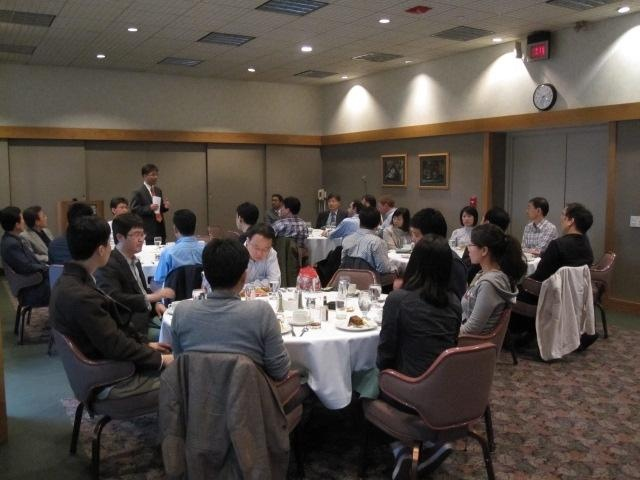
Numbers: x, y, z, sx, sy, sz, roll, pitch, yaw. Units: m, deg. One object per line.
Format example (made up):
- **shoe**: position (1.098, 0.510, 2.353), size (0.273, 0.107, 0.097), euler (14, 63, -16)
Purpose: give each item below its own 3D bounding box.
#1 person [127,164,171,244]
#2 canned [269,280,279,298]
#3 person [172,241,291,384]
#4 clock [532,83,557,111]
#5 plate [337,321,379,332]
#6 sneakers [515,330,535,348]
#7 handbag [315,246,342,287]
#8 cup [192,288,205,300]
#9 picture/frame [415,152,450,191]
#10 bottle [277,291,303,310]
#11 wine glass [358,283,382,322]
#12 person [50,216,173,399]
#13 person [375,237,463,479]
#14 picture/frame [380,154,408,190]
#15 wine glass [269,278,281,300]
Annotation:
- **person**: position (-2.717, -0.363, 7.621), size (0.500, 1.648, 0.542), euler (9, 13, 20)
- **canned**: position (-0.375, 0.404, 3.936), size (0.094, 0.151, 0.090), euler (-3, 8, -16)
- **person**: position (-0.568, 0.453, 2.905), size (0.564, 0.960, 0.486), euler (5, 33, 2)
- **clock**: position (3.445, -2.204, 7.275), size (0.092, 0.422, 0.375), euler (-9, 10, -42)
- **plate**: position (0.266, 0.616, 3.352), size (0.308, 0.038, 0.154), euler (-3, 7, -8)
- **sneakers**: position (2.386, 1.166, 5.500), size (0.197, 0.063, 0.046), euler (-19, 39, 29)
- **handbag**: position (0.049, 0.361, 6.116), size (0.257, 0.458, 0.317), euler (-2, 16, 1)
- **cup**: position (-0.886, 0.389, 3.435), size (0.103, 0.082, 0.105), euler (2, 6, 0)
- **picture/frame**: position (2.169, -1.331, 9.061), size (0.599, 0.657, 0.047), euler (-2, 6, -3)
- **bottle**: position (-0.251, 0.479, 3.731), size (0.155, 0.128, 0.157), euler (-3, 5, -26)
- **wine glass**: position (0.395, 0.478, 3.626), size (0.211, 0.350, 0.210), euler (-1, 7, 1)
- **person**: position (-1.378, 0.428, 3.087), size (0.689, 1.170, 0.380), euler (-7, 8, -32)
- **person**: position (0.617, 0.419, 2.941), size (0.532, 0.865, 0.298), euler (-1, 7, 6)
- **picture/frame**: position (1.534, -1.447, 9.801), size (0.623, 0.666, 0.046), euler (7, 13, 42)
- **wine glass**: position (-0.391, 0.403, 3.930), size (0.112, 0.201, 0.129), euler (2, 6, 11)
